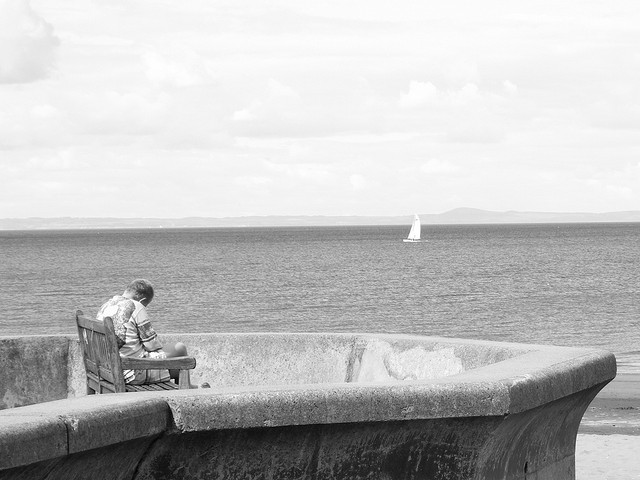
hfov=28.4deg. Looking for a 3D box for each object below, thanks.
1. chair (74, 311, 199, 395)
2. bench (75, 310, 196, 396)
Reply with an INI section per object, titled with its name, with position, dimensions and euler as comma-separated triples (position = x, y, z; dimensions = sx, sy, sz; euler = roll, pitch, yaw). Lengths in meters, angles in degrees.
[chair]
position = -1.392, 0.956, 9.220
dimensions = 0.653, 0.752, 1.152
euler = 3, 0, -21
[bench]
position = -1.390, 0.975, 9.222
dimensions = 0.685, 0.804, 1.098
euler = 1, 1, -21
